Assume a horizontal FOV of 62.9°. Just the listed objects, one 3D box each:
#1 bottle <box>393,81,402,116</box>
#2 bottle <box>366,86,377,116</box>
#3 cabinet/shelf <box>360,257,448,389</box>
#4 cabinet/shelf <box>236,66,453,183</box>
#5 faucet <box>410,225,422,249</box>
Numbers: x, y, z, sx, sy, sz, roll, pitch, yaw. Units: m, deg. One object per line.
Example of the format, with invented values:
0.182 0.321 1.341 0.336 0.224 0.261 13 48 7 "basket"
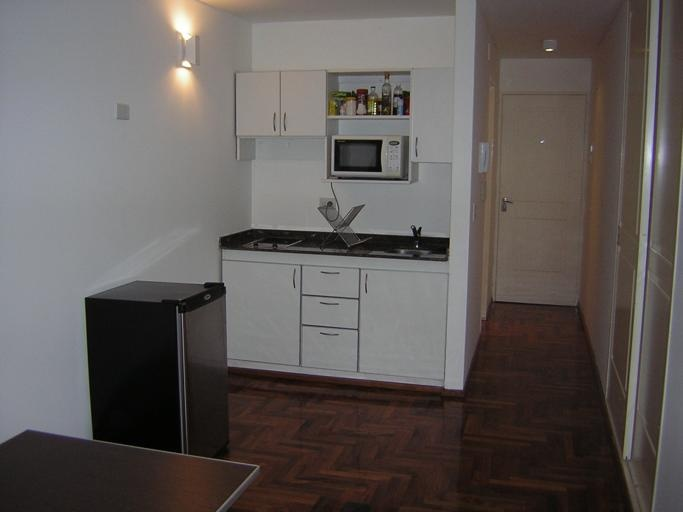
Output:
0.484 -1.325 4.723 0.082 0.258 0.170 1 10 4 "bottle"
0.266 -1.348 4.817 0.097 0.235 0.170 1 10 2 "bottle"
0.541 0.464 4.765 0.878 1.304 0.782 2 6 15 "cabinet/shelf"
0.006 -1.132 5.050 1.791 0.972 0.554 0 9 2 "cabinet/shelf"
0.678 -0.184 5.017 0.092 0.190 0.203 2 11 7 "faucet"
